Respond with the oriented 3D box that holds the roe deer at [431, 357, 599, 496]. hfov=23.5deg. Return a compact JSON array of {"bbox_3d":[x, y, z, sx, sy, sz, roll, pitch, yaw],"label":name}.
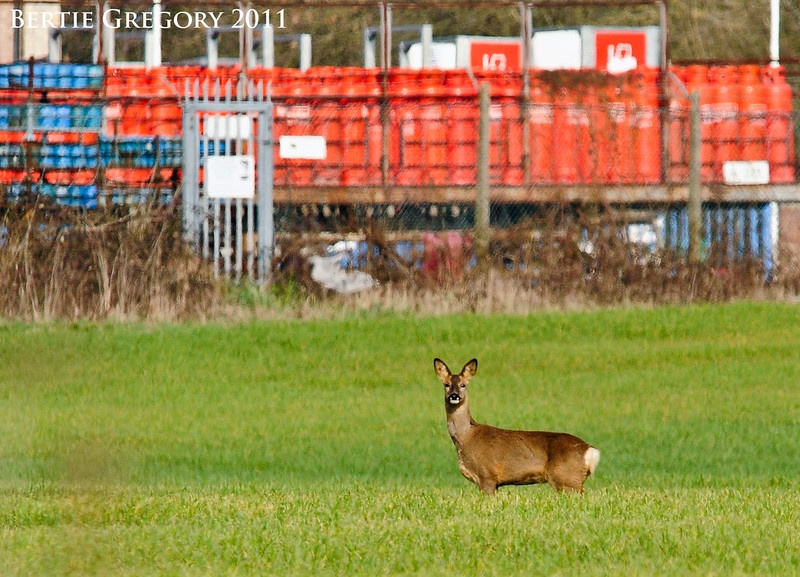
[{"bbox_3d":[1.383,1.905,23.740,1.970,2.737,0.724,-3,24,-8],"label":"roe deer"}]
